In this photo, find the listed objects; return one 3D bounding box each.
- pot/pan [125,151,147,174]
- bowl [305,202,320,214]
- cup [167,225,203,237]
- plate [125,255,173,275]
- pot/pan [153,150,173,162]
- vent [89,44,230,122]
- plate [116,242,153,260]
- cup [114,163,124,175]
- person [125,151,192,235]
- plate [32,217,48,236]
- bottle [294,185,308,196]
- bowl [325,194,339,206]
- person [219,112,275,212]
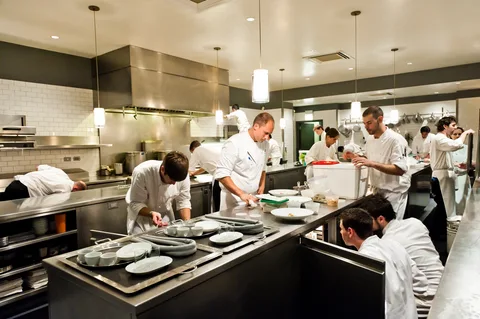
[{"bbox_3d":[-2.219,0.025,7.477,0.472,0.502,0.740,-1,0,14],"label":"pot/pan"},{"bbox_3d":[0.827,0.544,3.790,0.138,0.092,0.134,-2,-5,0],"label":"bowl"},{"bbox_3d":[-0.531,0.684,3.259,0.338,0.092,0.198,-4,9,-13],"label":"cup"},{"bbox_3d":[-0.761,0.889,2.818,0.235,0.030,0.169,-7,11,-35],"label":"plate"},{"bbox_3d":[-1.390,-0.067,5.997,0.283,0.192,0.163,1,3,41],"label":"pot/pan"},{"bbox_3d":[-1.602,-1.703,8.123,1.080,1.153,3.313,-2,2,37],"label":"vent"},{"bbox_3d":[-0.927,0.797,2.951,0.179,0.039,0.173,-4,9,-26],"label":"plate"},{"bbox_3d":[-2.605,0.199,7.411,0.233,0.248,0.237,1,-3,0],"label":"cup"},{"bbox_3d":[-0.938,0.389,3.878,0.750,0.989,0.696,-5,10,-15],"label":"person"},{"bbox_3d":[-2.598,0.880,4.389,0.220,0.209,0.185,-2,-2,21],"label":"plate"},{"bbox_3d":[0.819,0.410,4.520,0.143,0.102,0.236,-3,-6,30],"label":"bottle"},{"bbox_3d":[1.139,0.492,4.104,0.166,0.120,0.153,-2,9,0],"label":"bowl"},{"bbox_3d":[0.101,-0.048,4.320,0.575,1.083,0.907,4,11,32],"label":"person"}]
